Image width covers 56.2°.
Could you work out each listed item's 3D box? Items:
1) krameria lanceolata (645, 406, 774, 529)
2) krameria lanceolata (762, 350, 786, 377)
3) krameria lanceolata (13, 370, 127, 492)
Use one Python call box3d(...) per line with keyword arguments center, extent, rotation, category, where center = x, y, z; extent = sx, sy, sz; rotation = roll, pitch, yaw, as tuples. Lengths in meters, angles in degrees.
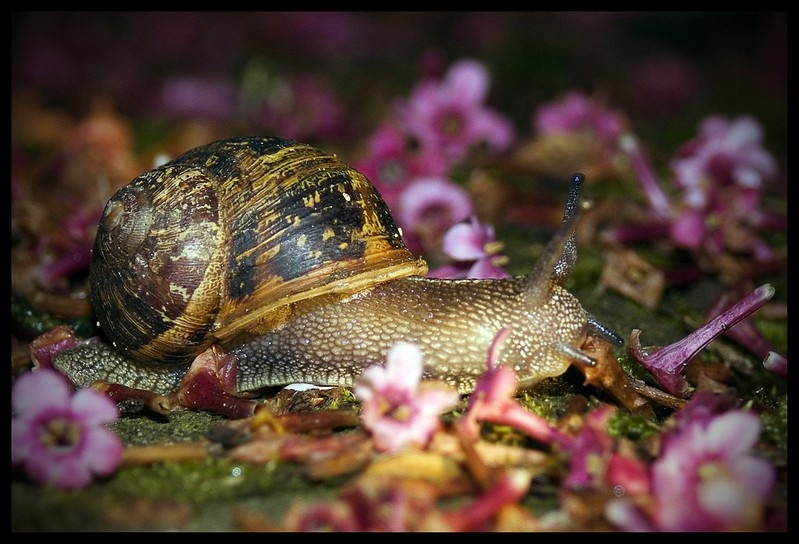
box3d(center=(1.223, 0.801, 3.001), extent=(0.406, 0.485, 0.122), rotation=(17, -3, -23), category="krameria lanceolata")
box3d(center=(1.852, 0.453, 3.703), extent=(0.166, 0.086, 0.061), rotation=(32, 59, -30), category="krameria lanceolata")
box3d(center=(-1.433, 0.695, 3.149), extent=(0.086, 0.494, 0.463), rotation=(53, 41, -18), category="krameria lanceolata")
